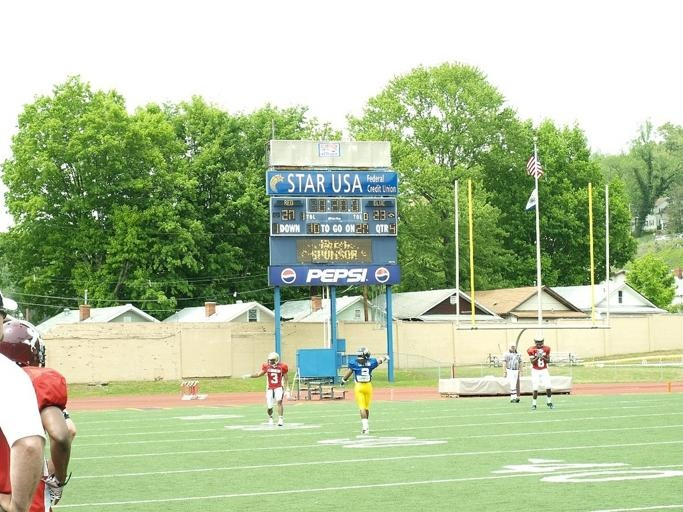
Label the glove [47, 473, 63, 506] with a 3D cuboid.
[{"bbox_3d":[-4.260,3.464,15.959,0.187,0.578,0.237,-7,25,-28],"label":"glove"}]

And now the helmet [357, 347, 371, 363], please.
[{"bbox_3d":[0.577,2.586,28.217,0.320,0.411,0.401,3,-18,4],"label":"helmet"}]
